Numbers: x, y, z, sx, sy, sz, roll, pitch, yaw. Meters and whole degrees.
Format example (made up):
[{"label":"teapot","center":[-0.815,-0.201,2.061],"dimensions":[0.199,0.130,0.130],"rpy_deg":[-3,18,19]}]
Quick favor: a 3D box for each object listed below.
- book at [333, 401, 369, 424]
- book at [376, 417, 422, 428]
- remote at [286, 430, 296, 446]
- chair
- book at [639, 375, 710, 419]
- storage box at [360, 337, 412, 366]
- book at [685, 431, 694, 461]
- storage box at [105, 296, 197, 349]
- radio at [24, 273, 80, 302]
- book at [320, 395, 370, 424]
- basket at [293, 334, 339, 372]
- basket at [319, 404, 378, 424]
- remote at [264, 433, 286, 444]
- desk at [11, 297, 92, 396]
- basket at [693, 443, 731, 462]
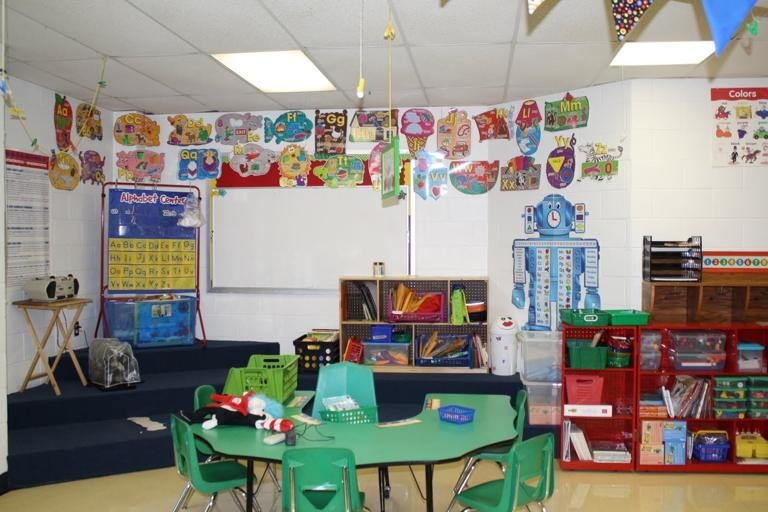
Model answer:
[{"label":"book","center":[-0.294,1.402,5.472],"dimensions":[0.190,0.116,0.186],"rpy_deg":[4,-6,-42]},{"label":"book","center":[0.139,1.544,5.610],"dimensions":[0.379,0.050,0.134],"rpy_deg":[-1,-4,-21]},{"label":"remote","center":[-0.782,1.526,5.090],"dimensions":[0.080,0.100,0.105],"rpy_deg":[-1,-2,2]},{"label":"chair","center":[-0.004,1.785,5.433],"dimensions":[2.648,1.312,1.267],"rpy_deg":[-1,1,2]},{"label":"book","center":[3.181,1.492,6.692],"dimensions":[0.452,0.183,0.611],"rpy_deg":[0,-1,7]},{"label":"storage box","center":[0.043,1.255,7.758],"dimensions":[0.486,0.242,0.357],"rpy_deg":[1,0,8]},{"label":"book","center":[3.287,2.039,6.493],"dimensions":[0.058,0.244,0.186],"rpy_deg":[4,-3,4]},{"label":"storage box","center":[-3.157,0.812,8.090],"dimensions":[1.080,0.648,0.576],"rpy_deg":[1,10,-38]},{"label":"radio","center":[-3.914,0.369,7.049],"dimensions":[0.320,0.245,0.396],"rpy_deg":[0,2,17]},{"label":"book","center":[-0.375,1.395,5.525],"dimensions":[0.215,0.106,0.319],"rpy_deg":[2,-5,-39]},{"label":"basket","center":[-0.878,1.210,7.769],"dimensions":[0.479,0.289,0.484],"rpy_deg":[-1,1,7]},{"label":"basket","center":[-0.276,1.443,5.467],"dimensions":[0.308,0.100,0.202],"rpy_deg":[3,-6,-37]},{"label":"remote","center":[-0.939,1.545,5.139],"dimensions":[0.180,0.062,0.143],"rpy_deg":[-1,1,-15]},{"label":"desk","center":[-4.139,1.099,7.188],"dimensions":[0.688,0.977,0.720],"rpy_deg":[4,-10,-37]},{"label":"basket","center":[3.504,2.092,6.440],"dimensions":[0.192,0.137,0.284],"rpy_deg":[-1,-7,6]}]
